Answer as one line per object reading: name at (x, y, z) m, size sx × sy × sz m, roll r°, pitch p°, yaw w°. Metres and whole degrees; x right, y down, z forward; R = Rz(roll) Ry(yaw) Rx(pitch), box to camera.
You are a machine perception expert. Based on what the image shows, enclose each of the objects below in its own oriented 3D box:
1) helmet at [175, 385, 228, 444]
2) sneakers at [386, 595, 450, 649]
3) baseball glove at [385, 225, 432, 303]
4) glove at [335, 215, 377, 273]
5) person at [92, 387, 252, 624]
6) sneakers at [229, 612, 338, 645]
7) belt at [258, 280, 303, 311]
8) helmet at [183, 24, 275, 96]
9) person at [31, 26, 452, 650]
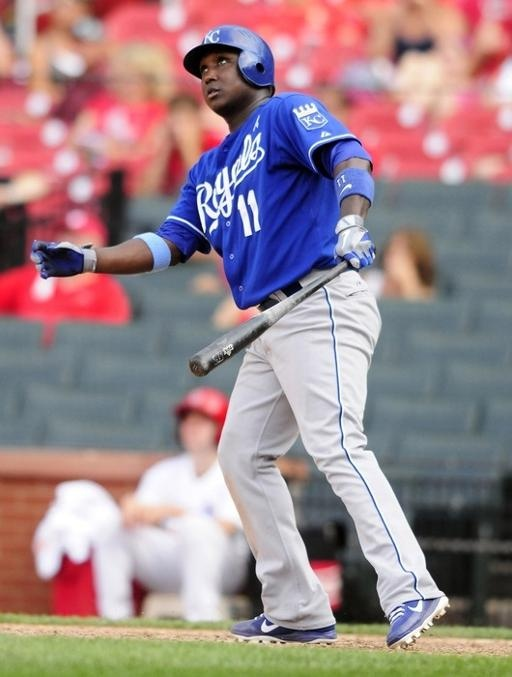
helmet at (-0.253, 0.328, 5.505) m, size 0.256 × 0.136 × 0.303 m, roll 8°, pitch -27°, yaw 8°
sneakers at (0.425, 0.787, 3.145) m, size 0.156 × 0.188 × 0.200 m, roll 2°, pitch 4°, yaw 5°
baseball glove at (0.729, -0.377, 5.711) m, size 0.308 × 0.307 × 0.105 m, roll -4°, pitch -6°, yaw 14°
glove at (0.252, -0.254, 3.152) m, size 0.076 × 0.149 × 0.115 m, roll -41°, pitch -8°, yaw -19°
person at (-0.351, 0.803, 5.223) m, size 0.818 × 1.015 × 0.765 m, roll 1°, pitch -1°, yaw -21°
sneakers at (0.067, 0.865, 3.472) m, size 0.329 × 0.096 × 0.098 m, roll 2°, pitch -8°, yaw 11°
belt at (0.059, -0.127, 3.367) m, size 0.113 × 0.038 × 0.081 m, roll -32°, pitch 2°, yaw 21°
helmet at (-0.113, -0.855, 3.604) m, size 0.314 × 0.191 × 0.190 m, roll 0°, pitch -32°, yaw -7°
person at (0.048, -0.017, 3.373) m, size 1.153 × 1.882 × 0.500 m, roll 6°, pitch 6°, yaw 40°
